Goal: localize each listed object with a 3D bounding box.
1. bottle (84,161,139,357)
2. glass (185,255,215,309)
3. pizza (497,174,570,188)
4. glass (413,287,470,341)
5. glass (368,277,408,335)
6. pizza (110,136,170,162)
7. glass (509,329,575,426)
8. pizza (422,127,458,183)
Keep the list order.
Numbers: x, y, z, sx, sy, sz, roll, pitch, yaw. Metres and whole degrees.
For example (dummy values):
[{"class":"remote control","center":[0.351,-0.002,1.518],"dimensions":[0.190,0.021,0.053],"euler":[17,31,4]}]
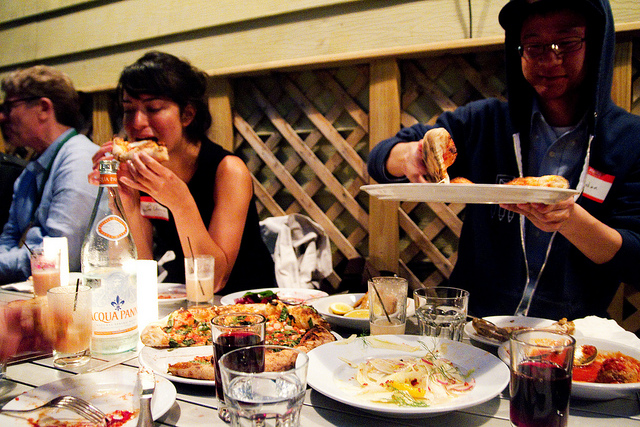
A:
[{"class":"bottle","center":[-0.824,0.174,1.976],"dimensions":[0.188,0.731,0.262],"euler":[-3,3,-22]},{"class":"glass","center":[-0.506,0.333,2.291],"dimensions":[0.157,0.232,0.149],"euler":[2,-10,-15]},{"class":"pizza","center":[0.966,-0.142,2.244],"dimensions":[0.172,0.054,0.161],"euler":[-2,-1,25]},{"class":"glass","center":[0.477,0.400,1.978],"dimensions":[0.200,0.218,0.166],"euler":[-1,2,14]},{"class":"glass","center":[0.269,0.399,2.002],"dimensions":[0.185,0.253,0.174],"euler":[1,-7,-2]},{"class":"pizza","center":[-1.091,-0.405,2.991],"dimensions":[0.307,0.108,0.284],"euler":[-2,26,-23]},{"class":"glass","center":[0.732,0.522,1.617],"dimensions":[0.263,0.292,0.122],"euler":[-2,3,-14]},{"class":"pizza","center":[0.529,-0.269,2.332],"dimensions":[0.081,0.261,0.152],"euler":[-7,-1,-24]}]
